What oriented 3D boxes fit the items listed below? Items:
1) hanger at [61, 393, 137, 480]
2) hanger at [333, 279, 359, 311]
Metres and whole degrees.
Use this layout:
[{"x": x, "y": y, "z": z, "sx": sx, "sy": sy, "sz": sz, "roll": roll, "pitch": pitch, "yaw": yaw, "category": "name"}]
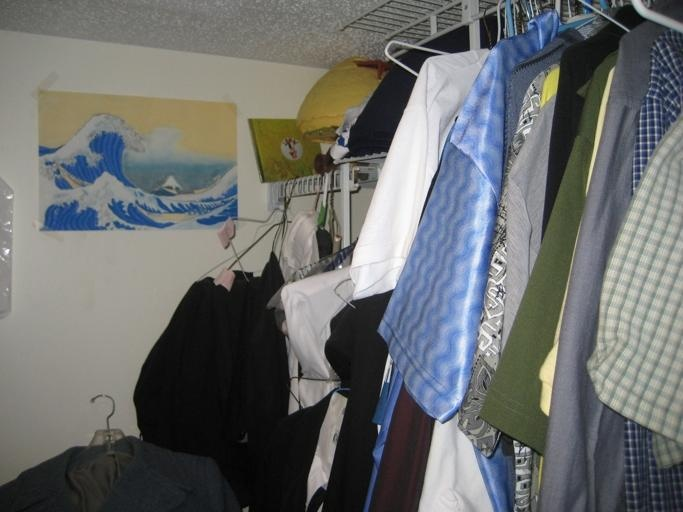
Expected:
[{"x": -0.699, "y": 0.573, "z": 1.884, "sx": 0.226, "sy": 0.009, "sz": 0.329, "roll": 4, "pitch": 35, "yaw": -25, "category": "hanger"}, {"x": 0.007, "y": 0.119, "z": 1.869, "sx": 0.065, "sy": 0.101, "sz": 0.070, "roll": -3, "pitch": 7, "yaw": 1, "category": "hanger"}]
